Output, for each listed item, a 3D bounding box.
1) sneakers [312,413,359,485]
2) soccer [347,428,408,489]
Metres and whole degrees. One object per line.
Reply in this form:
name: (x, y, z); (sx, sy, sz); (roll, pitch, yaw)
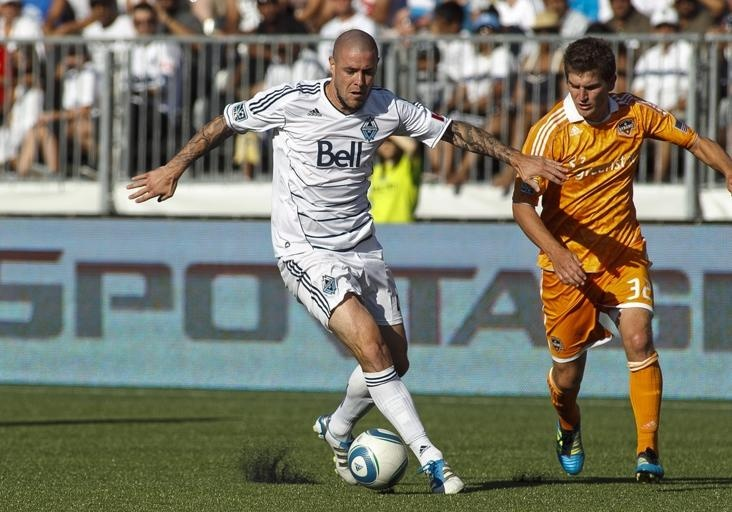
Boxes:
sneakers: (-0.203, 1.468, 12.674); (0.504, 0.223, 0.164); (48, 21, 18)
soccer: (0.093, 1.561, 12.265); (0.416, 0.474, 0.420); (2, -10, 4)
